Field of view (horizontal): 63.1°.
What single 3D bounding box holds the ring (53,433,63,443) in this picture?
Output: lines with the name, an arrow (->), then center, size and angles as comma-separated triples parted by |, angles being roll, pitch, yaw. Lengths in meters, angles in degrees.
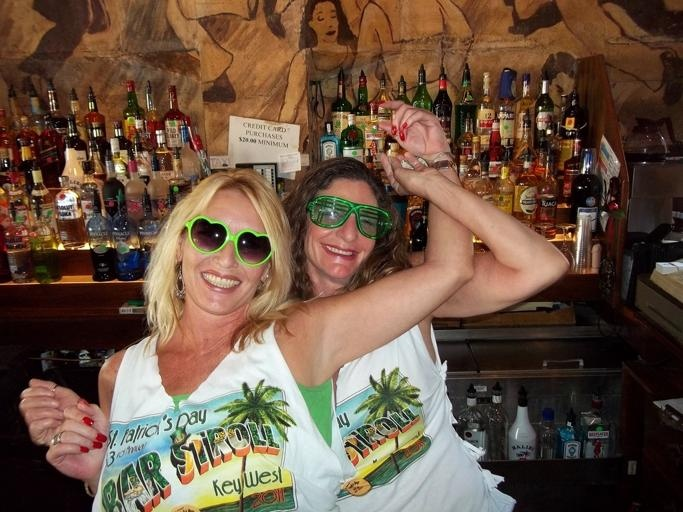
ring -> -0.924, 0.594, 1.810 | 0.013, 0.038, 0.029 | 30, -21, -29

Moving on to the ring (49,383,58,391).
ring -> -0.964, 0.441, 1.862 | 0.021, 0.005, 0.021 | 8, 39, -6
